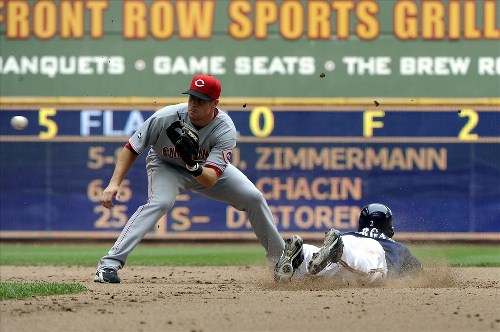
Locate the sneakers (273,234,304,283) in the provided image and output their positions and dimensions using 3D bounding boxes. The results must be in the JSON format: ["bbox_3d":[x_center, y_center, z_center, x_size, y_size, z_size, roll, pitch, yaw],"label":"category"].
[{"bbox_3d":[0.471,1.069,10.299,0.232,0.604,0.276,27,4,2],"label":"sneakers"}]

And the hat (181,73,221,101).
[{"bbox_3d":[-0.536,-0.880,10.148,0.271,0.206,0.399,30,19,35],"label":"hat"}]

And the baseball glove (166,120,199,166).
[{"bbox_3d":[-0.725,-0.291,9.961,0.526,0.334,0.146,51,23,14],"label":"baseball glove"}]

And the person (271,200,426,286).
[{"bbox_3d":[1.117,0.863,10.189,0.836,0.638,1.506,0,-7,43],"label":"person"}]

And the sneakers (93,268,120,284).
[{"bbox_3d":[-1.679,1.265,10.333,0.288,0.198,0.159,0,5,-5],"label":"sneakers"}]

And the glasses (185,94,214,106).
[{"bbox_3d":[-0.549,-0.728,10.133,0.213,0.064,0.141,15,-1,-40],"label":"glasses"}]

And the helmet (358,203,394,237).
[{"bbox_3d":[1.559,0.627,10.540,0.332,0.432,0.442,6,3,12],"label":"helmet"}]

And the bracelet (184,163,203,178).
[{"bbox_3d":[-0.637,0.049,9.951,0.134,0.087,0.173,16,-10,-39],"label":"bracelet"}]
